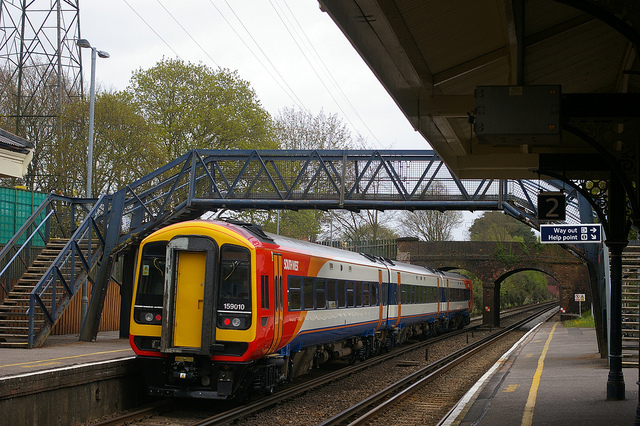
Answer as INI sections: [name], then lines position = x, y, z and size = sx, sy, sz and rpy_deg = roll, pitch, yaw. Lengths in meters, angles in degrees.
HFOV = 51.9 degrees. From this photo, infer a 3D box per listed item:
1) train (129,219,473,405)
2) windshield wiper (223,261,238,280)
[train]
position = 2.973, 4.703, 30.320
size = 3.294, 7.528, 33.814
rpy_deg = -5, -16, 21
[windshield wiper]
position = -2.107, 1.354, 15.222
size = 0.077, 0.463, 0.066
rpy_deg = 37, 1, -12
